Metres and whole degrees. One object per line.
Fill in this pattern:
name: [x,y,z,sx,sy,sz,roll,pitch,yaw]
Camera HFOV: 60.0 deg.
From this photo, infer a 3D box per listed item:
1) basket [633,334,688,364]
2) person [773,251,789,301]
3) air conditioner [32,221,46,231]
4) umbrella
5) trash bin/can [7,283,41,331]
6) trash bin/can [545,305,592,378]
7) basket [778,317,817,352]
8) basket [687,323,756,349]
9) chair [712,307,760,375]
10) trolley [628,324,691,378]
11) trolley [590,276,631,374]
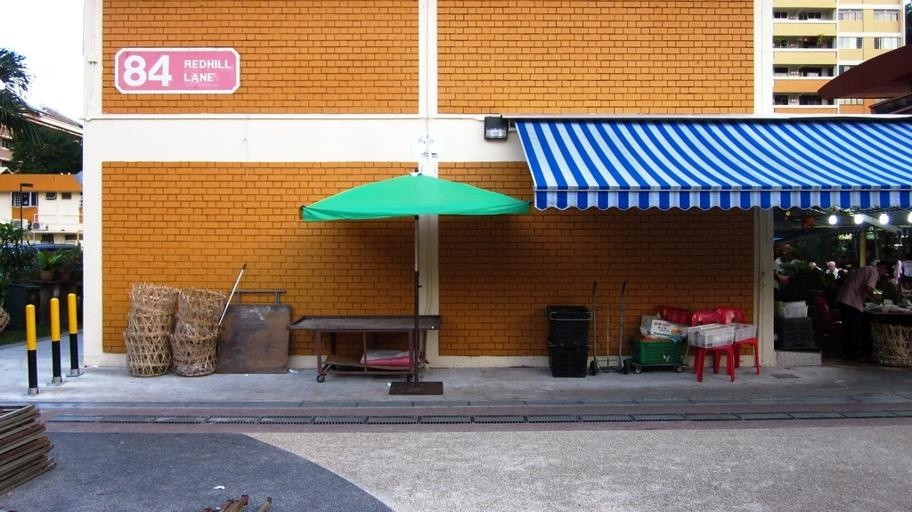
basket: [5.205,2.452,20.509,1.227,0.483,0.761,0,2,1]
person: [9.223,0.494,22.360,0.315,1.413,1.245,0,-2,23]
air conditioner: [-34.273,-2.444,64.572,0.695,0.775,1.375,-4,-3,45]
umbrella: [-1.036,0.595,19.246,4.922,5.320,1.719,1,-2,2]
trash bin/can: [-13.898,1.615,25.297,1.034,1.483,0.685,2,-2,-25]
trash bin/can: [2.854,2.154,20.102,1.106,1.767,0.665,1,-2,3]
basket: [9.499,2.080,21.122,1.020,0.810,1.376,3,-9,-19]
basket: [6.700,1.959,19.779,1.363,0.320,0.712,-1,2,-18]
chair: [7.048,2.129,19.854,1.059,1.412,1.097,-3,5,-23]
trolley: [5.240,2.337,20.421,1.785,0.917,1.005,0,3,2]
trolley: [3.997,1.787,20.554,0.990,2.439,0.655,1,-2,10]
